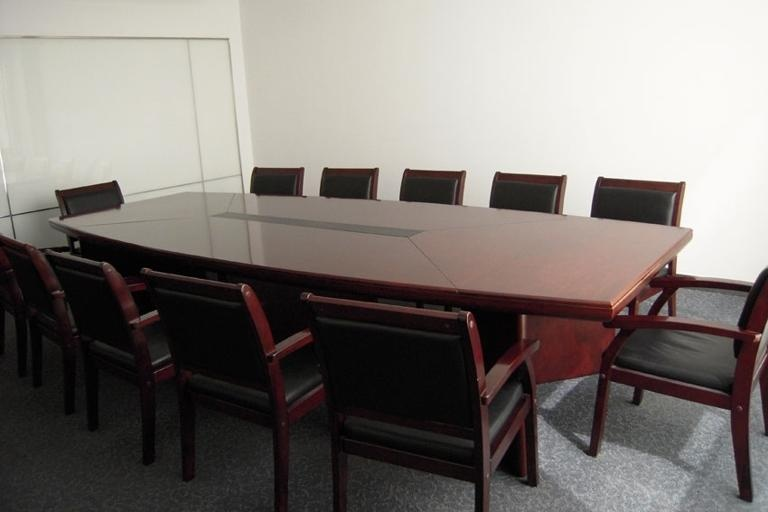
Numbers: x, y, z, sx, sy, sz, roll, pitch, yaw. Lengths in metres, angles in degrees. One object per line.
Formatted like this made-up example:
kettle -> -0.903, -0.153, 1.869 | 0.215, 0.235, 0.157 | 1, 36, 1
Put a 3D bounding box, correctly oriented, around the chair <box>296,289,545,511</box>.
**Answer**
chair -> 0.169, 0.590, 2.840 | 0.958, 1.373, 1.062 | 3, 14, 25
